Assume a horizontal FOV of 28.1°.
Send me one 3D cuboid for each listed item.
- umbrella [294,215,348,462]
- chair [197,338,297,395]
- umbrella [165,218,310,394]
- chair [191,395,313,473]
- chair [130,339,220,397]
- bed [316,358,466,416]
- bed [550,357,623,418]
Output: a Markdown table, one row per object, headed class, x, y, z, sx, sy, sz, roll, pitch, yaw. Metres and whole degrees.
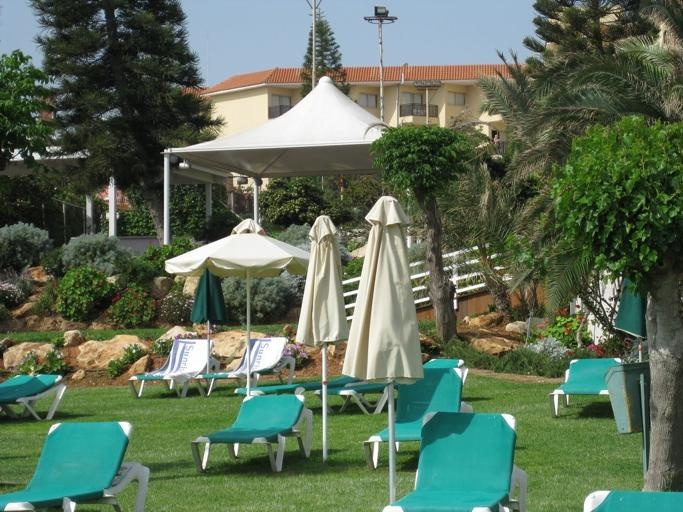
| class | x | y | z | sx | sy | sz | roll | pitch | yaw |
| --- | --- | --- | --- | --- | --- | --- | --- | --- | --- |
| umbrella | -0.375 | 1.678 | 28.370 | 0.999 | 5.103 | 1.004 | -1 | -5 | -2 |
| chair | -2.176 | 2.656 | 33.291 | 1.221 | 1.404 | 2.032 | -3 | -5 | 32 |
| umbrella | -2.052 | 1.494 | 31.528 | 3.571 | 4.977 | 4.038 | -1 | -2 | 31 |
| chair | -1.575 | 3.570 | 28.340 | 1.362 | 1.249 | 2.002 | -3 | -7 | 19 |
| chair | -3.888 | 2.826 | 33.546 | 1.147 | 1.324 | 1.874 | 0 | 1 | 25 |
| bed | 1.751 | 2.871 | 29.384 | 2.144 | 0.754 | 1.182 | -15 | 5 | -39 |
| bed | 5.487 | 2.899 | 30.151 | 1.474 | 1.299 | 1.570 | -1 | 1 | 30 |
